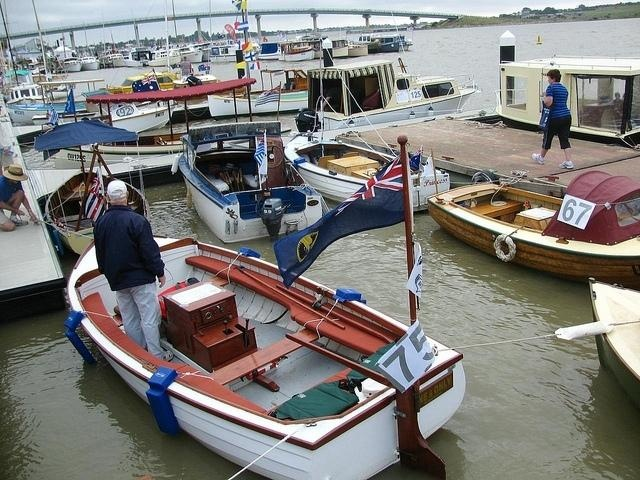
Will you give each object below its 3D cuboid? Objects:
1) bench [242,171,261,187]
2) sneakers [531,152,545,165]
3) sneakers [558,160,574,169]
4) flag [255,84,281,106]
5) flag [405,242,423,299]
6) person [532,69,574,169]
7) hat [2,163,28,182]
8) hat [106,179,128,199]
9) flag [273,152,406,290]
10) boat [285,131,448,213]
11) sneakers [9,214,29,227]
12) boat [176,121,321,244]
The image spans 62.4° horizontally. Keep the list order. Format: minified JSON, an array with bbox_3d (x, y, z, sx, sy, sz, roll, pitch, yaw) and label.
[{"bbox_3d":[-1.594,-1.403,12.275,0.258,0.113,0.465,-10,24,-20],"label":"bench"},{"bbox_3d":[4.790,-1.802,11.557,0.160,0.179,0.403,1,25,9],"label":"sneakers"},{"bbox_3d":[5.086,-1.544,10.816,0.144,0.125,0.296,3,17,14],"label":"sneakers"},{"bbox_3d":[-1.603,-4.496,16.501,0.709,0.500,1.750,-7,19,-2],"label":"flag"},{"bbox_3d":[0.908,0.305,5.036,0.143,0.645,0.280,-4,21,9],"label":"flag"},{"bbox_3d":[4.830,-2.485,10.839,0.800,1.984,1.108,1,22,20],"label":"person"},{"bbox_3d":[-5.813,-1.275,9.968,0.441,0.166,0.379,33,32,20],"label":"hat"},{"bbox_3d":[-2.354,-0.598,6.256,0.203,0.249,0.267,-2,-24,-27],"label":"hat"},{"bbox_3d":[0.265,-0.192,5.458,1.380,0.872,1.371,8,43,49],"label":"flag"},{"bbox_3d":[0.838,-1.717,12.480,1.788,1.156,4.111,-28,41,-36],"label":"boat"},{"bbox_3d":[-6.118,-0.411,10.668,0.414,0.256,0.158,-10,35,-22],"label":"sneakers"},{"bbox_3d":[-1.774,-1.389,11.615,2.109,1.688,3.955,-16,32,-30],"label":"boat"}]
